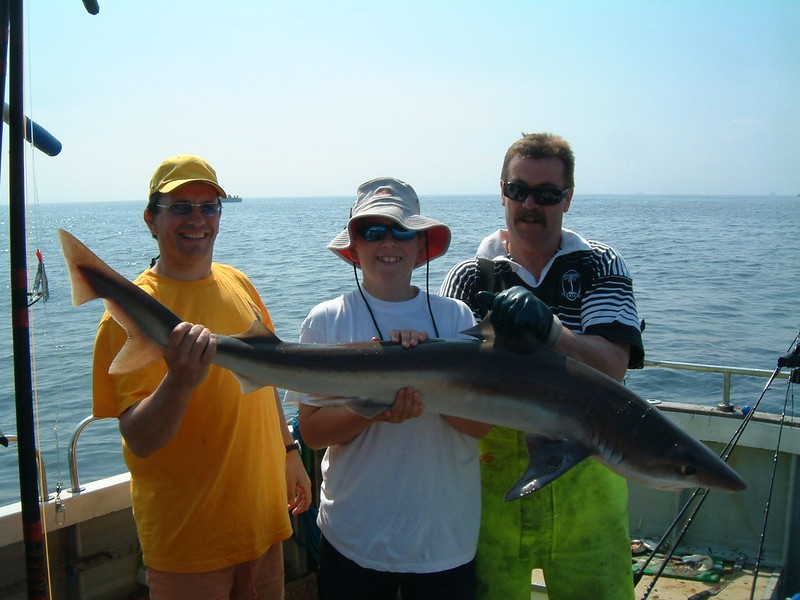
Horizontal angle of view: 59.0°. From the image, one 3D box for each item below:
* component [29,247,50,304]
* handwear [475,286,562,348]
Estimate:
[{"bbox_3d":[-2.444,-0.144,4.778,0.162,0.401,0.231,-4,19,-35],"label":"component"},{"bbox_3d":[0.704,0.093,4.127,0.433,0.343,0.156,25,35,3],"label":"handwear"}]
